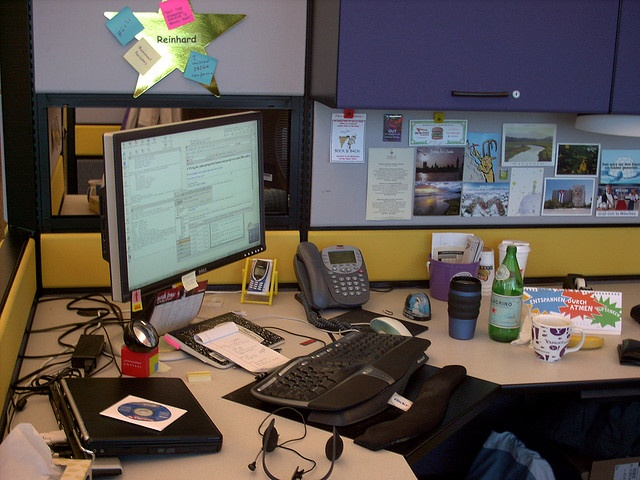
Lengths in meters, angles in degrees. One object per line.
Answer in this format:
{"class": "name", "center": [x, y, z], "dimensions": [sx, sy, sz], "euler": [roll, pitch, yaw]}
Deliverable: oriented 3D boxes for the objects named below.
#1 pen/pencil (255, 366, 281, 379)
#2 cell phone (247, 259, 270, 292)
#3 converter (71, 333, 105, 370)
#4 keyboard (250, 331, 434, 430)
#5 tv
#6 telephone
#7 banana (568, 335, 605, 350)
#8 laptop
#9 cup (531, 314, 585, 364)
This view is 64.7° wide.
{"class": "pen/pencil", "center": [-0.137, 0.346, 1.317], "dimensions": [0.018, 0.019, 0.133], "euler": [-38, -7, 11]}
{"class": "cell phone", "center": [-0.208, 0.125, 1.759], "dimensions": [0.065, 0.117, 0.029], "euler": [5, 3, 4]}
{"class": "converter", "center": [-0.625, 0.305, 1.357], "dimensions": [0.061, 0.030, 0.126], "euler": [7, 25, -20]}
{"class": "keyboard", "center": [0.076, 0.347, 1.337], "dimensions": [0.292, 0.085, 0.469], "euler": [7, 14, 33]}
{"class": "tv", "center": [-0.393, -0.066, 1.450], "dimensions": [0.107, 0.523, 0.629], "euler": [4, 11, 40]}
{"class": "telephone", "center": [0.037, 0.148, 1.736], "dimensions": [0.282, 0.139, 0.368], "euler": [10, 30, 3]}
{"class": "banana", "center": [0.800, 0.310, 1.522], "dimensions": [0.084, 0.026, 0.052], "euler": [4, 8, 1]}
{"class": "laptop", "center": [-0.425, 0.395, 1.170], "dimensions": [0.356, 0.035, 0.369], "euler": [13, 3, -20]}
{"class": "cup", "center": [0.693, 0.277, 1.486], "dimensions": [0.156, 0.118, 0.123], "euler": [0, 4, 4]}
